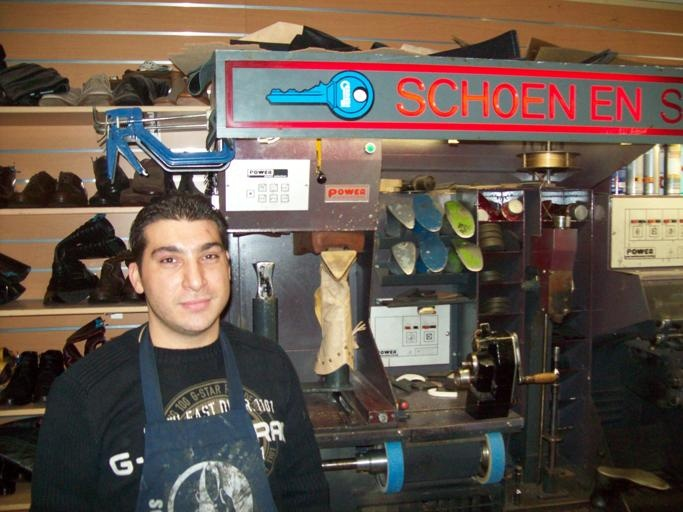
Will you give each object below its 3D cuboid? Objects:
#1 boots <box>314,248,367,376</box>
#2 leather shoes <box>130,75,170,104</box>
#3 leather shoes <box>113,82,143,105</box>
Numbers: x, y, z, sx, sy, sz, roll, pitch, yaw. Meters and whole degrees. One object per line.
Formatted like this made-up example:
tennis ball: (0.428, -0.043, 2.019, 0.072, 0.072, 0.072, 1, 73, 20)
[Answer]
boots: (-0.054, 0.294, 3.268, 0.262, 0.643, 0.265, 0, 12, -14)
leather shoes: (-1.087, -0.949, 3.483, 0.208, 0.156, 0.078, -18, -13, -45)
leather shoes: (-1.187, -0.896, 3.371, 0.161, 0.144, 0.108, -4, 5, -18)
